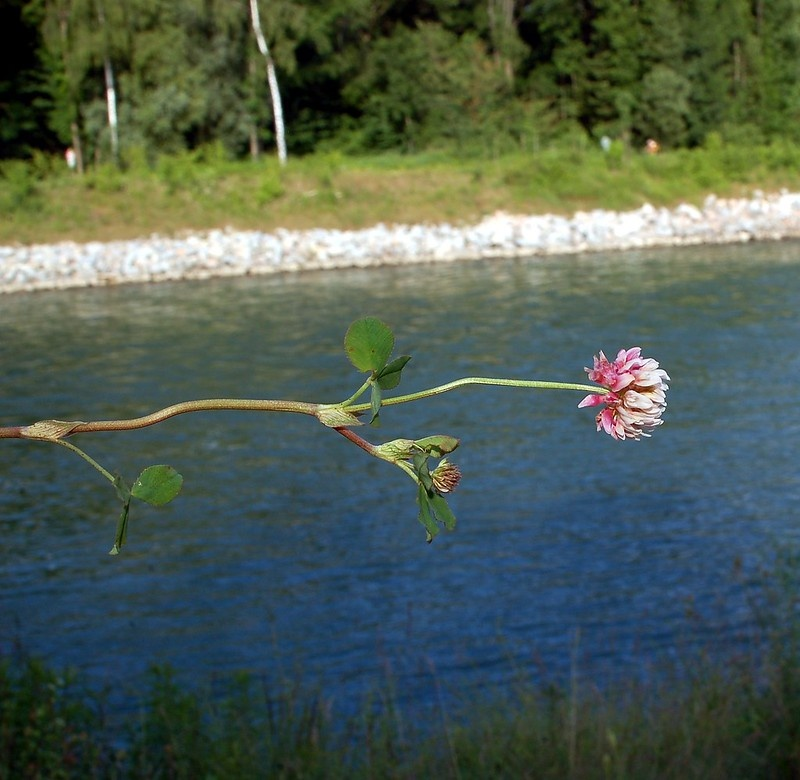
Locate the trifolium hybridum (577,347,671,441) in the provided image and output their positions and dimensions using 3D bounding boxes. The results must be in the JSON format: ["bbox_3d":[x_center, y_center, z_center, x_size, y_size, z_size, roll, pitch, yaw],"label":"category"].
[{"bbox_3d":[1.357,0.018,8.902,0.748,0.491,0.442,-7,49,18],"label":"trifolium hybridum"}]
